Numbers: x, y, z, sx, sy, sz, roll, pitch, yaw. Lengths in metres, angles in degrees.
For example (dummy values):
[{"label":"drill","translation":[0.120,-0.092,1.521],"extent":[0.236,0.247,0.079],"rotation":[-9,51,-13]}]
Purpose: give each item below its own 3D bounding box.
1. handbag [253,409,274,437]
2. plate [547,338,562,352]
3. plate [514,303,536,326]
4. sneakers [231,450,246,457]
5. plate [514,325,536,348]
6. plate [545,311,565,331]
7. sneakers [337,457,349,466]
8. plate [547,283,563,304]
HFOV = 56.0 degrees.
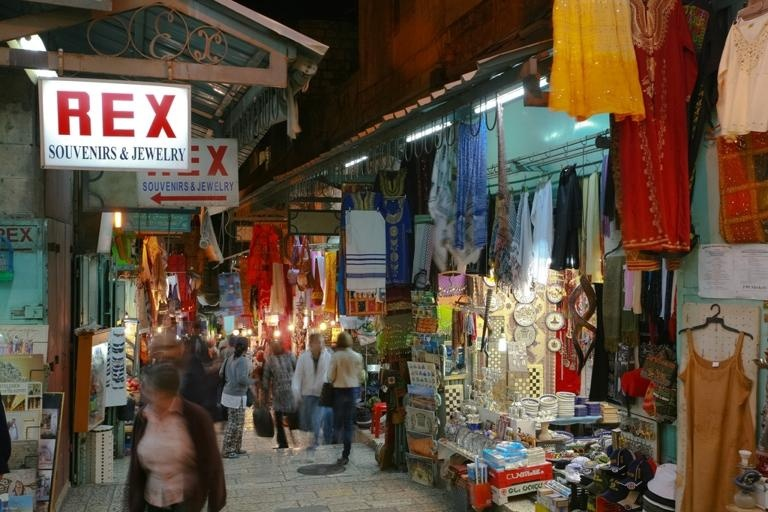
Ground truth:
[{"label":"handbag","translation":[-1.845,2.641,11.541],"extent":[0.404,0.484,0.433],"rotation":[-1,-5,1]},{"label":"plate","translation":[2.605,1.330,10.957],"extent":[0.270,0.197,0.124],"rotation":[1,0,-16]},{"label":"plate","translation":[2.035,0.839,10.487],"extent":[0.288,0.320,0.072],"rotation":[3,-3,-4]},{"label":"sneakers","translation":[-2.167,2.916,10.739],"extent":[0.225,0.098,0.071],"rotation":[-5,4,-30]},{"label":"plate","translation":[2.093,1.127,10.554],"extent":[0.175,0.305,0.542],"rotation":[1,0,42]},{"label":"plate","translation":[2.576,0.970,10.877],"extent":[0.298,0.307,0.226],"rotation":[1,0,10]},{"label":"sneakers","translation":[-0.594,2.886,10.278],"extent":[0.102,0.112,0.112],"rotation":[-1,-8,25]},{"label":"plate","translation":[2.556,0.549,10.775],"extent":[0.273,0.282,0.152],"rotation":[1,0,14]}]
